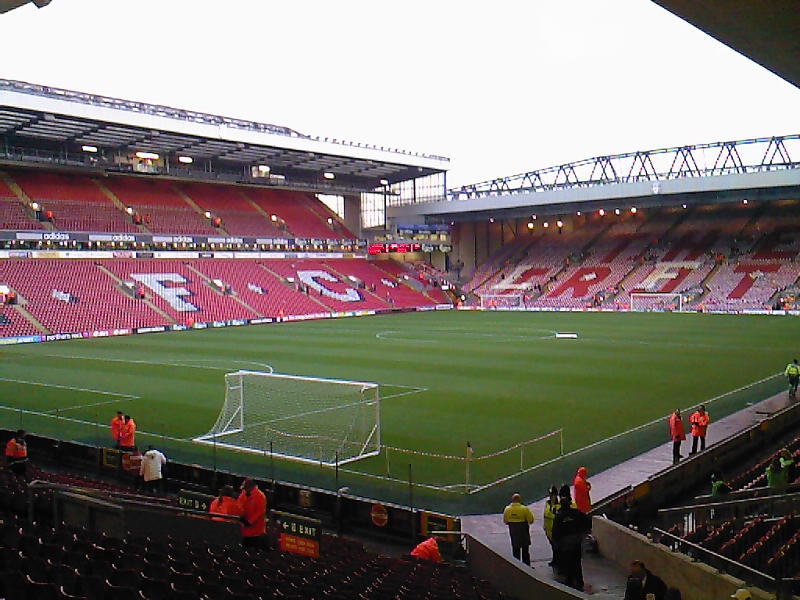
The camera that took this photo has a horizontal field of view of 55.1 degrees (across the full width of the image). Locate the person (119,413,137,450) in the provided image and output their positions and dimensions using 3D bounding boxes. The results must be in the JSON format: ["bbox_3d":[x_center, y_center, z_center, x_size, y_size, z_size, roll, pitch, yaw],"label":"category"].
[{"bbox_3d":[-6.179,3.001,17.364,0.321,0.720,0.733,-3,5,-23],"label":"person"}]

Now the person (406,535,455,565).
[{"bbox_3d":[0.550,4.069,12.397,0.415,0.362,1.156,-19,-16,20],"label":"person"}]

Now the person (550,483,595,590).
[{"bbox_3d":[2.587,3.702,11.576,0.525,1.303,0.520,1,5,14],"label":"person"}]
